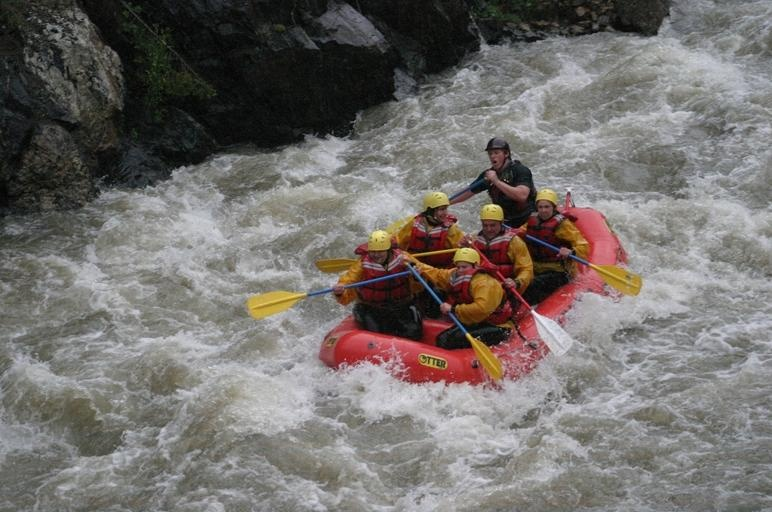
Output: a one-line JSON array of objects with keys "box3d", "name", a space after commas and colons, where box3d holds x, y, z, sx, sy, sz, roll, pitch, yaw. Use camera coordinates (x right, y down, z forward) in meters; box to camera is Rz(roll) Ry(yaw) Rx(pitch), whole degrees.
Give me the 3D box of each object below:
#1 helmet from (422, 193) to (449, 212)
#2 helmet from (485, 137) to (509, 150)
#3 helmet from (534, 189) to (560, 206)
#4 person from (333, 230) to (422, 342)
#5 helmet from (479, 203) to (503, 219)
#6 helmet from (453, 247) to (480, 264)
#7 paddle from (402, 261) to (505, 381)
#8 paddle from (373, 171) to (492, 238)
[{"box3d": [0.758, -0.835, 13.177, 0.338, 0.249, 0.247, -19, 5, 22], "name": "helmet"}, {"box3d": [1.807, -1.776, 13.762, 0.230, 0.150, 0.299, 3, 15, 27], "name": "helmet"}, {"box3d": [2.460, -0.833, 13.298, 0.271, 0.333, 0.283, 3, 35, 20], "name": "helmet"}, {"box3d": [-0.083, 0.488, 12.884, 1.267, 1.529, 0.935, -7, 28, -2], "name": "person"}, {"box3d": [1.576, -0.651, 12.869, 0.227, 0.224, 0.287, 4, 19, 7], "name": "helmet"}, {"box3d": [1.159, -0.030, 12.415, 0.306, 0.229, 0.216, -13, 20, -36], "name": "helmet"}, {"box3d": [0.999, 0.943, 12.410, 0.310, 2.158, 0.193, -38, -33, -2], "name": "paddle"}, {"box3d": [0.801, -0.826, 14.494, 1.686, 0.324, 0.403, -33, 46, -7], "name": "paddle"}]
